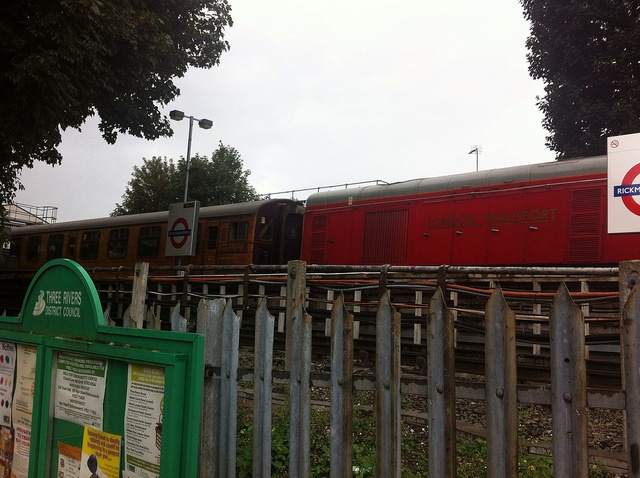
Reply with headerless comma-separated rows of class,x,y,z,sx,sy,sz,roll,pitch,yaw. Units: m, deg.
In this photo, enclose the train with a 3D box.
train,-4.353,0.444,16.084,24.021,3.619,6.006,-2,-9,20
